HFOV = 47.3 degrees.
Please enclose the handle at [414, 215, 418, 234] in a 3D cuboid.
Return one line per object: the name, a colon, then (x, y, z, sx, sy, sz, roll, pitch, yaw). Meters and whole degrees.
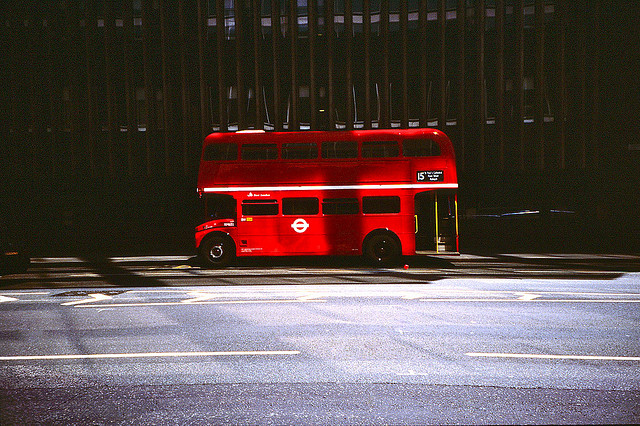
handle: (4.377, 0.468, 33.362, 0.118, 0.801, 0.103, -4, 5, -5)
